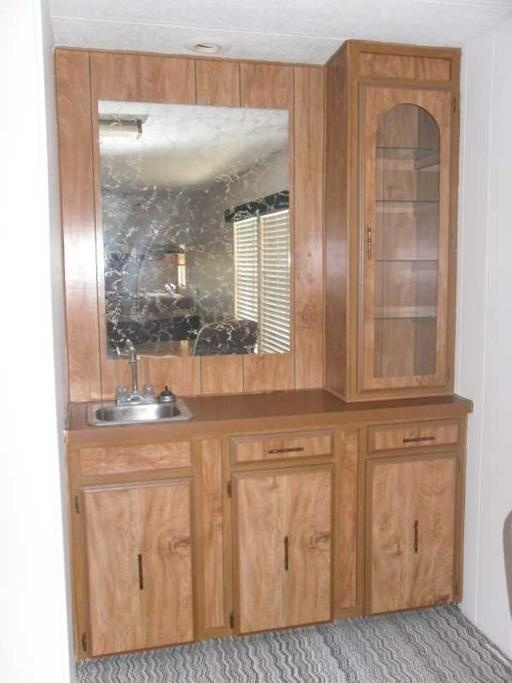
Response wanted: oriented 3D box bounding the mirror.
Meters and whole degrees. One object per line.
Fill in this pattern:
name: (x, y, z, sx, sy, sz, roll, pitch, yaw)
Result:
mirror: (-0.311, -0.530, 2.570, 1.262, 1.780, 0.033, -2, 11, -16)
